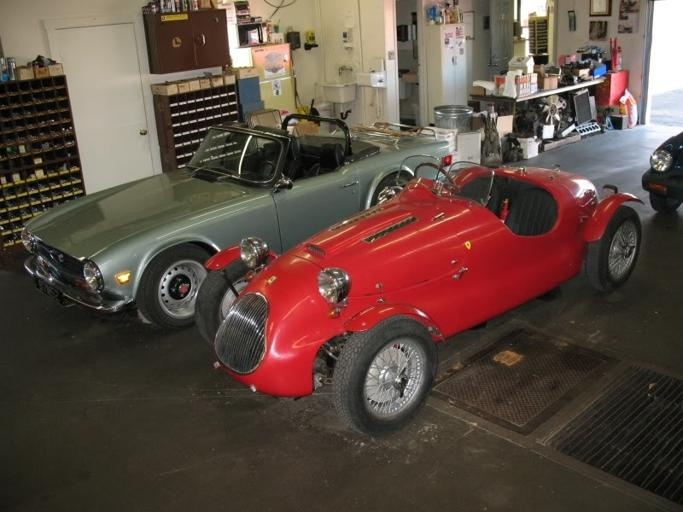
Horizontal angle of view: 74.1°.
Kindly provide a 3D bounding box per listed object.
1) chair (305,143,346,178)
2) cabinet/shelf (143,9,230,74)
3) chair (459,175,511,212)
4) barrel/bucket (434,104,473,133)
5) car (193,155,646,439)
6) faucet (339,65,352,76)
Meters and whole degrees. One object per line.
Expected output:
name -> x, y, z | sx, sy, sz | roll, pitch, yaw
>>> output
chair -> -0.101, -1.243, 5.756 | 0.299, 0.382, 0.372 | 15, 7, 34
cabinet/shelf -> -2.953, -4.021, 8.412 | 1.279, 0.907, 0.443 | -15, 19, -37
chair -> 1.420, -0.607, 4.335 | 0.590, 0.272, 0.336 | 0, 13, -28
barrel/bucket -> 2.370, -2.834, 9.651 | 0.642, 0.635, 0.655 | 0, 12, 0
car -> 0.854, 0.034, 4.056 | 4.156, 1.399, 1.953 | -21, 21, -26
faucet -> 0.109, -4.584, 11.156 | 0.303, 0.180, 0.111 | 0, 6, 32
